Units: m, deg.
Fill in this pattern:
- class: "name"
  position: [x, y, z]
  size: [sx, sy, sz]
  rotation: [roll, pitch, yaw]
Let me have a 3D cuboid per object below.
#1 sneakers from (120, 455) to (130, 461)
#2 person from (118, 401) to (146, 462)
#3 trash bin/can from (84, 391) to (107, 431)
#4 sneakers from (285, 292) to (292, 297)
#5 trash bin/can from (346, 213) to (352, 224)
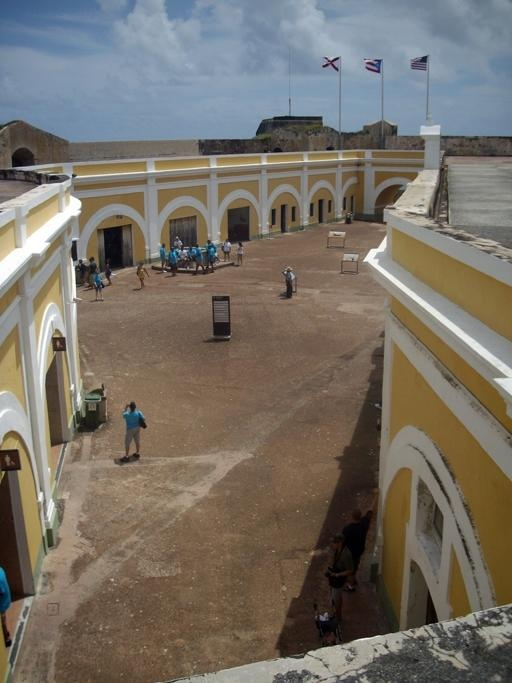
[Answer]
- class: "sneakers"
  position: [-3.053, 2.660, 11.612]
  size: [0.183, 0.156, 0.111]
  rotation: [5, -1, 22]
- class: "person"
  position: [-2.916, 1.946, 11.767]
  size: [0.550, 1.425, 1.399]
  rotation: [-6, 15, -15]
- class: "trash bin/can"
  position: [-4.300, 1.759, 13.260]
  size: [0.596, 0.862, 0.701]
  rotation: [-10, 16, -28]
- class: "sneakers"
  position: [1.576, -2.238, 24.150]
  size: [0.256, 0.318, 0.153]
  rotation: [1, 2, 15]
- class: "trash bin/can"
  position: [8.287, -10.989, 45.110]
  size: [0.621, 0.860, 0.823]
  rotation: [2, 15, 17]
